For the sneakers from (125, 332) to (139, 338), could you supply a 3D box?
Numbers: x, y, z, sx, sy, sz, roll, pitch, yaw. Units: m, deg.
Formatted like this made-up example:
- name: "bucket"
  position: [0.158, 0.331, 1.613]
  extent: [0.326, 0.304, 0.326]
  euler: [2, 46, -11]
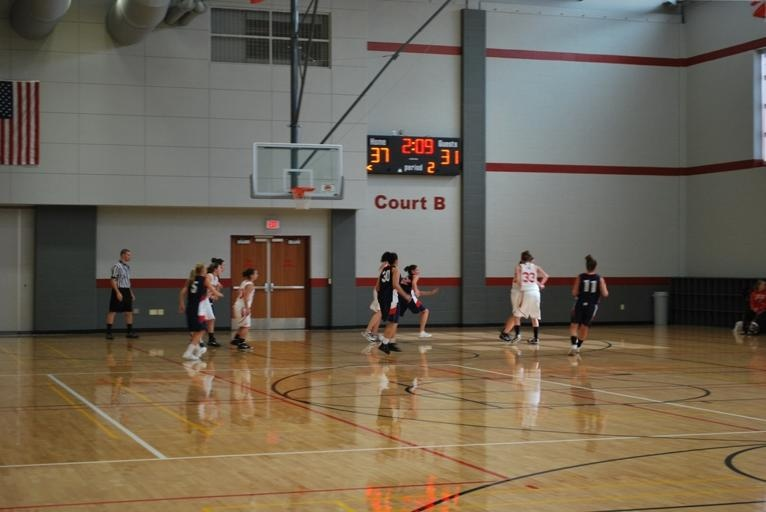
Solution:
- name: "sneakers"
  position: [-6.521, 2.064, 18.435]
  extent: [0.270, 0.120, 0.115]
  euler: [-1, -5, 10]

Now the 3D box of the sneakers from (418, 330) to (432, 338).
- name: "sneakers"
  position: [1.112, 2.066, 18.837]
  extent: [0.150, 0.155, 0.388]
  euler: [1, 5, 31]

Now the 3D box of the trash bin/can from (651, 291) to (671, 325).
- name: "trash bin/can"
  position: [9.107, 1.689, 23.227]
  extent: [0.510, 1.082, 0.406]
  euler: [0, 2, 12]
